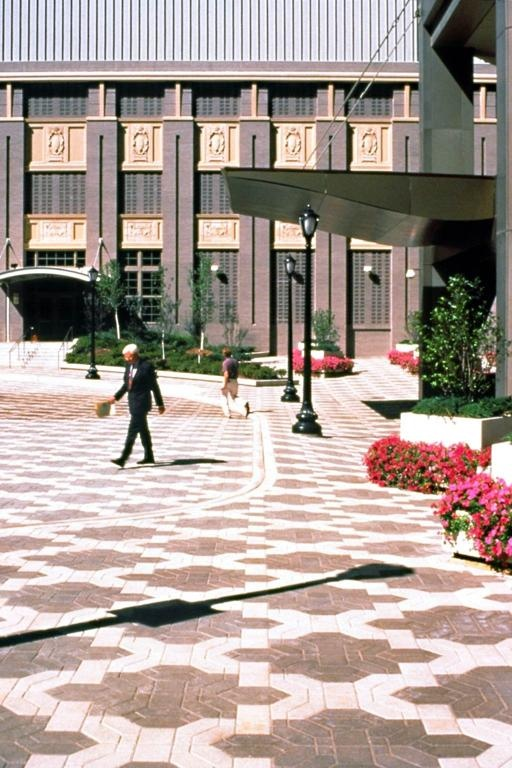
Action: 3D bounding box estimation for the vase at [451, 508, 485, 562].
[{"bbox_3d":[1.606,1.087,8.291,0.197,0.411,0.361,3,-1,-40],"label":"vase"}]

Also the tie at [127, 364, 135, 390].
[{"bbox_3d":[-1.580,-0.100,13.769,0.050,0.247,0.160,9,6,6],"label":"tie"}]

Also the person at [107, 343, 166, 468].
[{"bbox_3d":[-1.566,0.243,14.301,0.664,1.565,1.919,0,3,-6],"label":"person"}]
